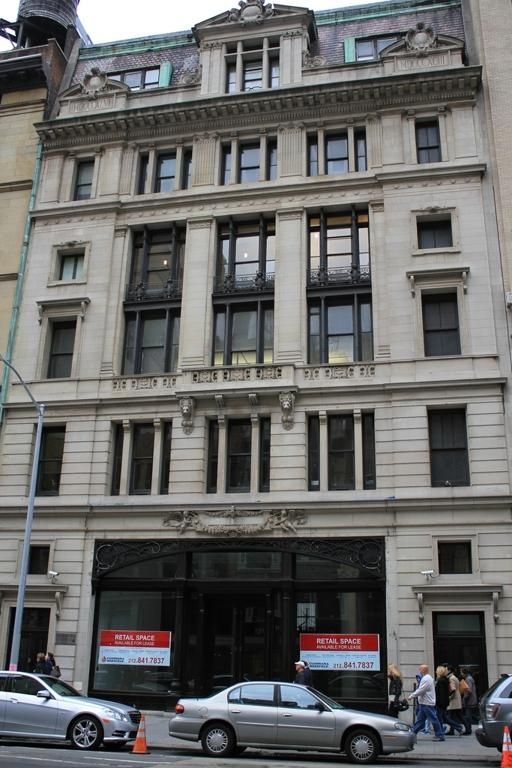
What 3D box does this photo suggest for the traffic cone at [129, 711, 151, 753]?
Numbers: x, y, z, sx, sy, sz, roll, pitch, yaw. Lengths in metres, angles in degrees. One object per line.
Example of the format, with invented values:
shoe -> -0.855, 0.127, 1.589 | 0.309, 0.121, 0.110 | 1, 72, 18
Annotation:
traffic cone -> -2.034, 6.253, 13.947 | 0.280, 0.671, 0.771 | 7, -28, -5

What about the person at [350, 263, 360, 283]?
person -> 3.264, -3.585, 25.762 | 0.320, 0.721, 0.079 | 1, -29, 6

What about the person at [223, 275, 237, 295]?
person -> -0.906, -3.348, 26.743 | 0.528, 0.958, 0.493 | 4, -61, -4

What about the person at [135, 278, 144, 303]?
person -> -4.148, -3.288, 27.745 | 0.407, 0.854, 0.141 | -5, -30, 17

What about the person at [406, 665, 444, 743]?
person -> 3.667, 6.914, 17.059 | 0.836, 1.494, 0.649 | -13, -26, 39
